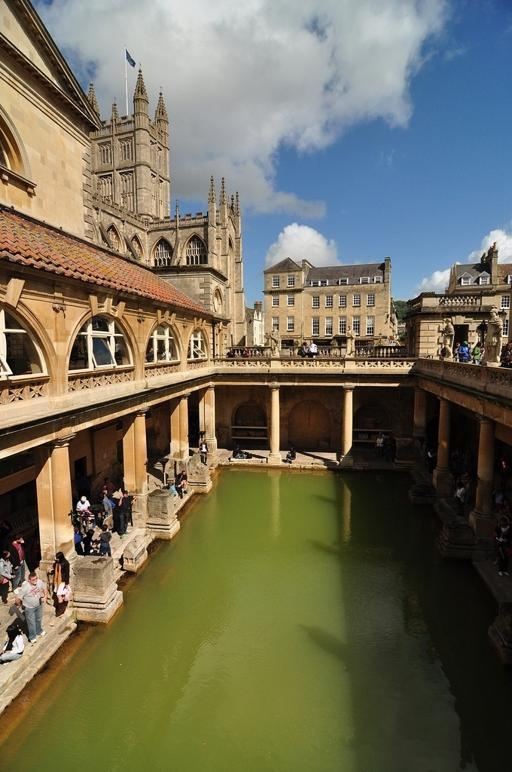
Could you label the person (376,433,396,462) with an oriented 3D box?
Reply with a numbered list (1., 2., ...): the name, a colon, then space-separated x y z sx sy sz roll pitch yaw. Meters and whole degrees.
1. person: 6.848 3.233 27.410 0.947 1.390 1.664 1 27 1
